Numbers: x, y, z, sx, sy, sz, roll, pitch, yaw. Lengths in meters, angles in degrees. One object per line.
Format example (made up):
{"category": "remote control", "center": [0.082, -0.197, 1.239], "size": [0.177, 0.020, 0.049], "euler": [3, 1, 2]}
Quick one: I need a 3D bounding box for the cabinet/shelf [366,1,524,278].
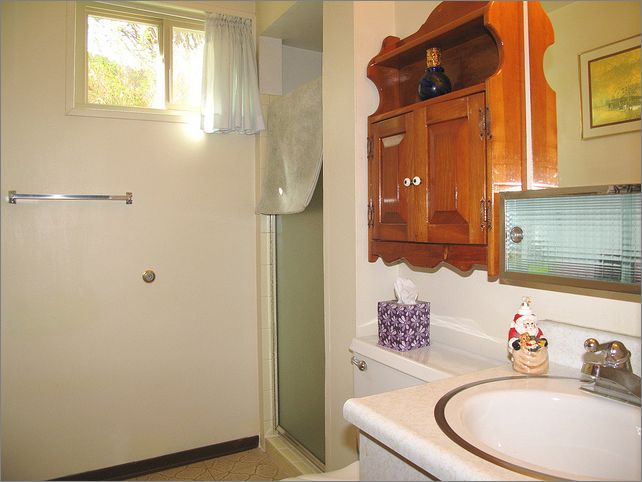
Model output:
{"category": "cabinet/shelf", "center": [0.469, -0.435, 1.905], "size": [0.255, 1.073, 0.651], "euler": [-5, 5, -36]}

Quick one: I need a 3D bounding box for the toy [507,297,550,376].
{"category": "toy", "center": [0.711, 0.315, 1.625], "size": [0.156, 0.245, 0.107], "euler": [-4, 5, -32]}
